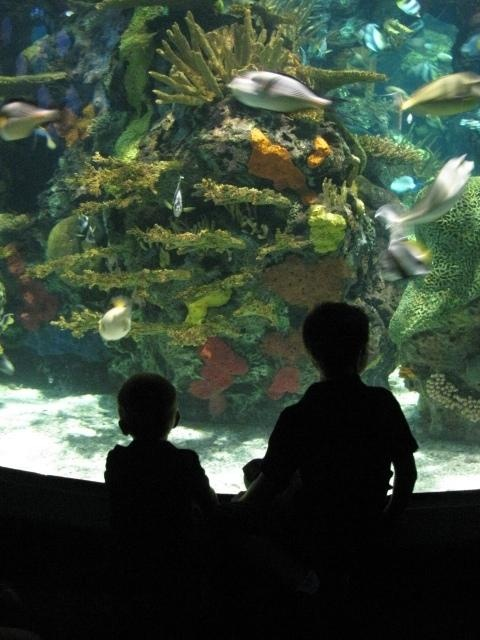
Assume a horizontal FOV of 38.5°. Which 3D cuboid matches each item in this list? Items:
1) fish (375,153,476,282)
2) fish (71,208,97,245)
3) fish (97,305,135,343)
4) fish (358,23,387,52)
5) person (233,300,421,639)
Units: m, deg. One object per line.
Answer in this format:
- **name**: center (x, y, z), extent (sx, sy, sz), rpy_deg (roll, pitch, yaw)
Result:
- **fish**: center (1.326, -0.806, 5.220), extent (0.590, 0.921, 1.169), rpy_deg (0, 20, 6)
- **fish**: center (-1.838, -1.057, 8.104), extent (0.325, 0.469, 0.250), rpy_deg (3, -9, -33)
- **fish**: center (-1.030, 0.027, 5.734), extent (0.268, 0.328, 0.185), rpy_deg (-5, 22, -9)
- **fish**: center (2.603, -5.512, 13.398), extent (0.399, 0.509, 0.418), rpy_deg (3, 21, 12)
- **person**: center (0.386, 0.578, 2.921), extent (0.550, 1.224, 0.688), rpy_deg (17, 28, 39)
